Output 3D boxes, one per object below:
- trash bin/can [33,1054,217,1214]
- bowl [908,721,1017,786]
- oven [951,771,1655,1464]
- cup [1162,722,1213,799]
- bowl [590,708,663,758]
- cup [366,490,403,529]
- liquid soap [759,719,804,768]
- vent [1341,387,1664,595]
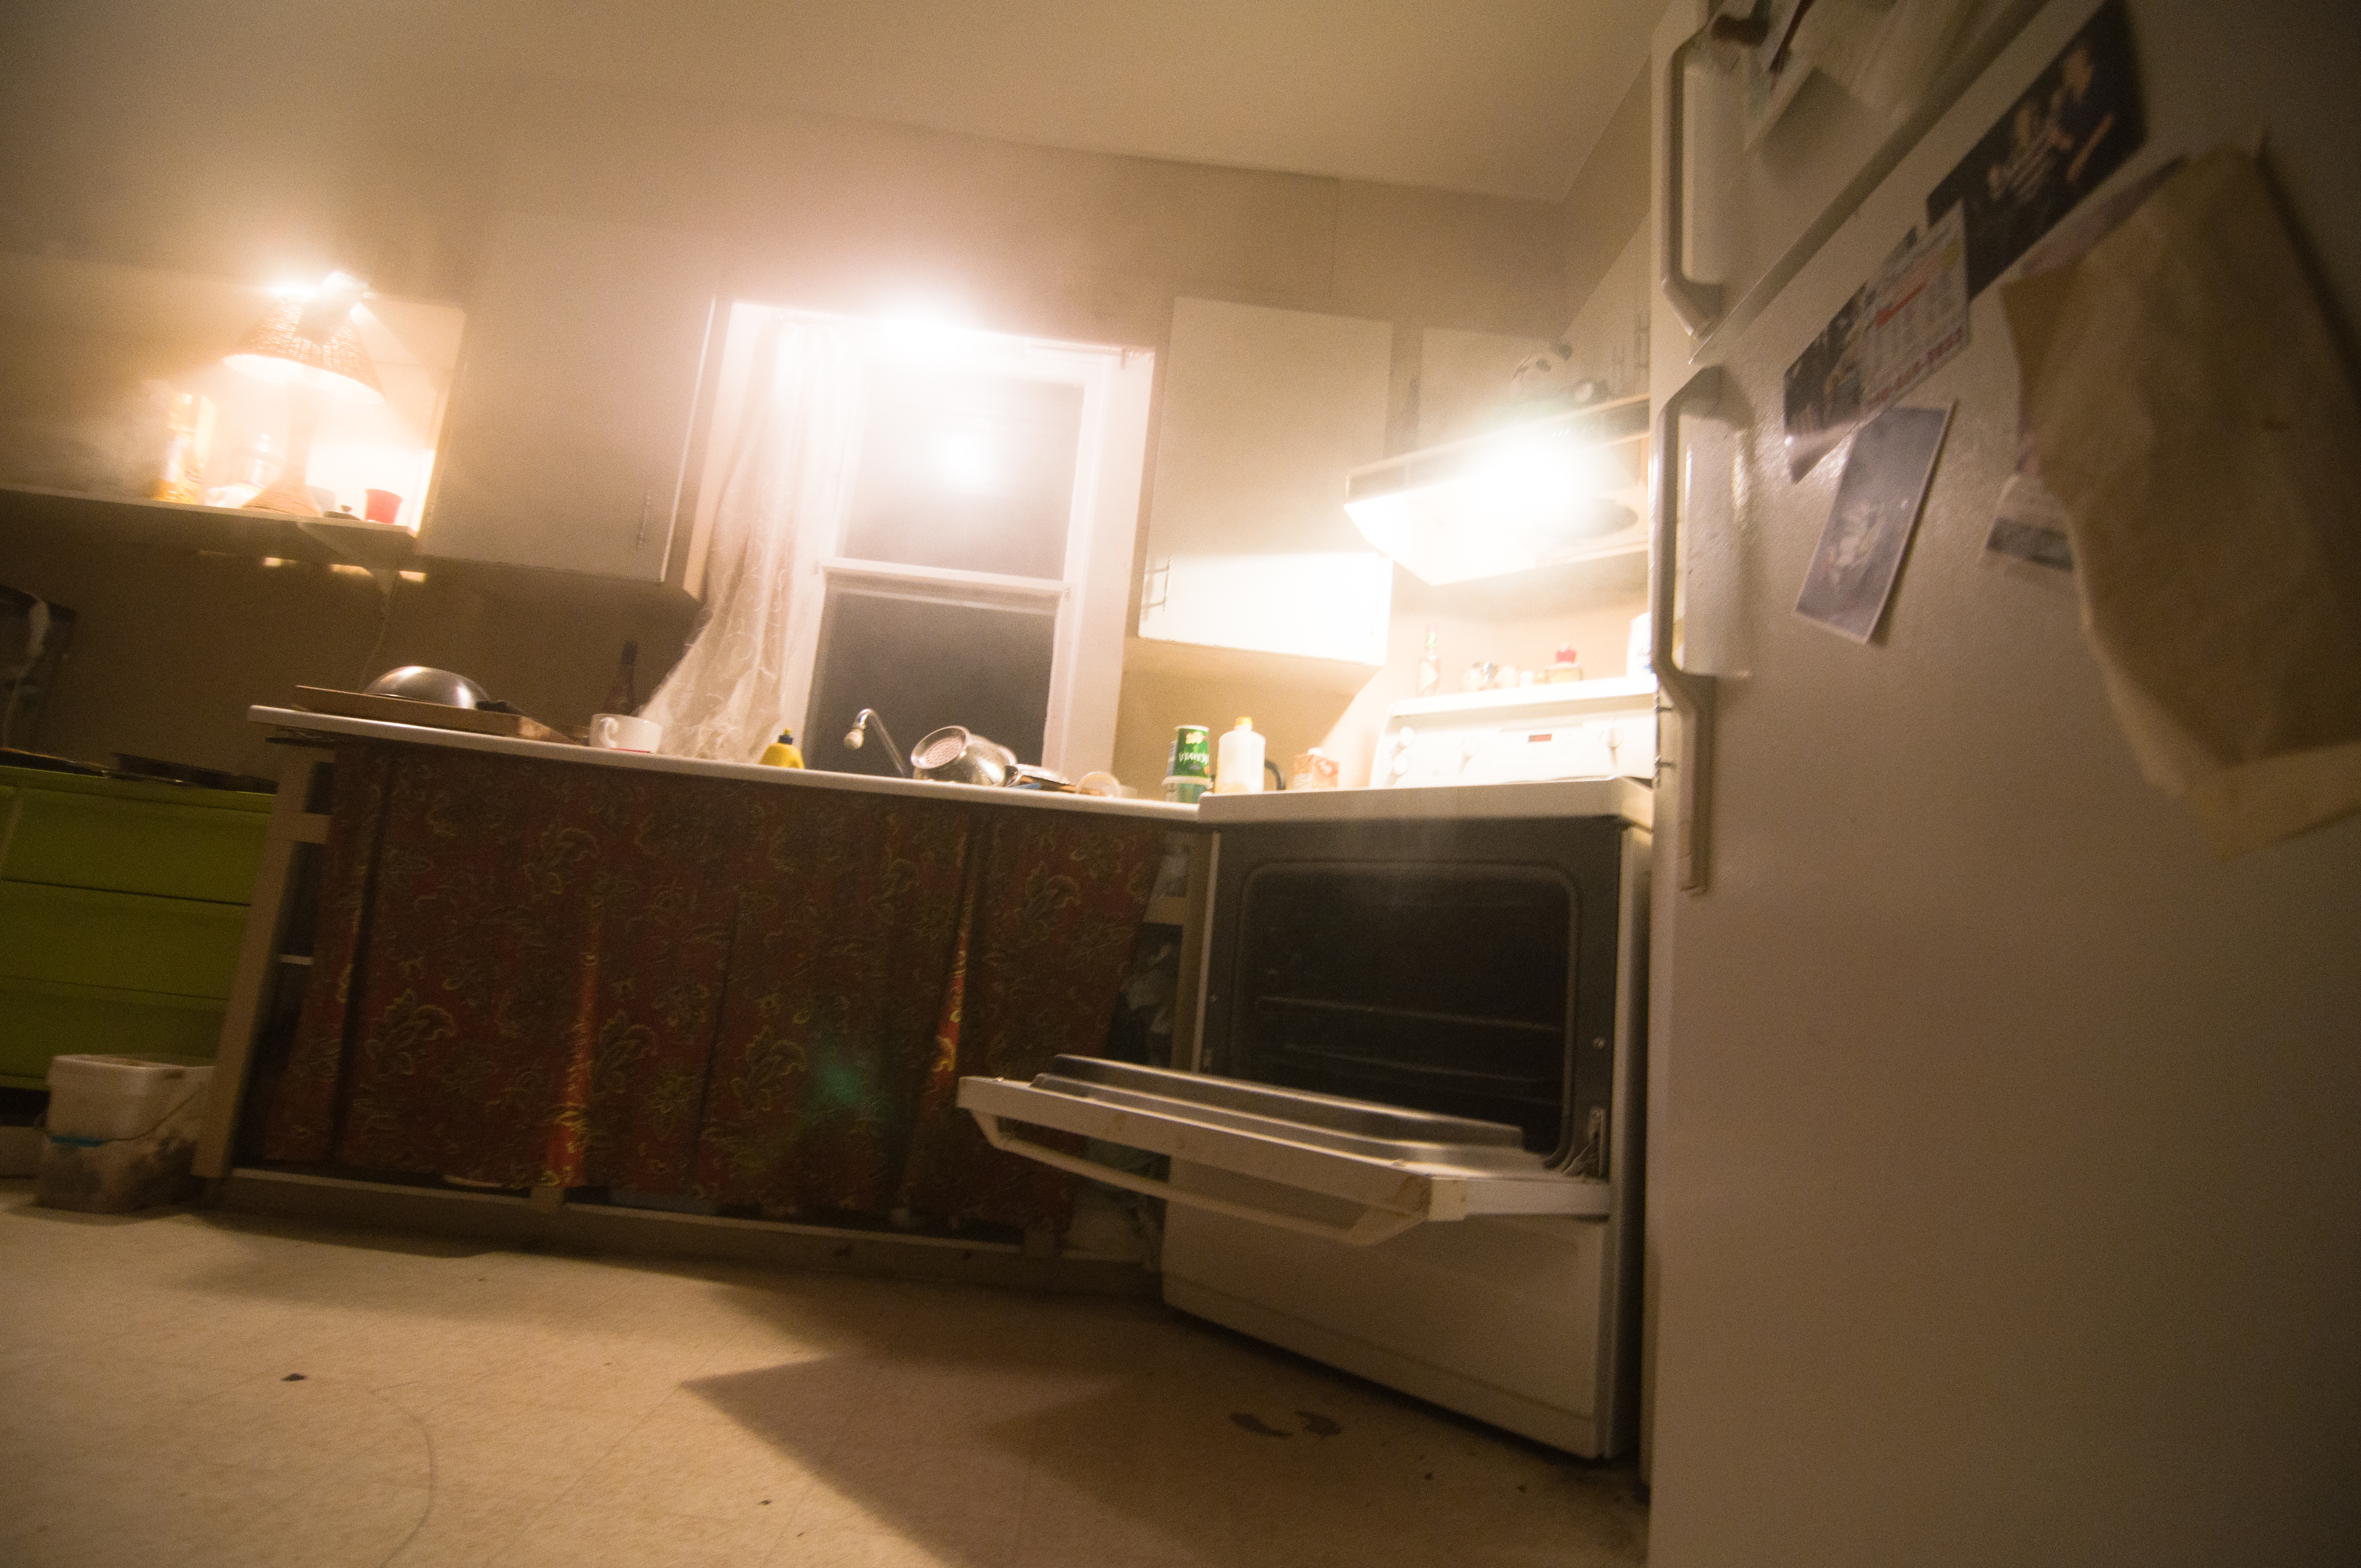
[{"bbox_3d":[-2.043,0.679,3.091,0.271,0.329,0.345,1,-6,20],"label":"trash bin/can"},{"bbox_3d":[-0.478,-0.069,3.320,0.180,0.086,0.131,2,4,-1],"label":"bowl"},{"bbox_3d":[0.377,0.529,2.751,1.378,1.076,1.149,9,-4,-36],"label":"oven"},{"bbox_3d":[0.024,-0.048,3.652,0.159,0.161,0.158,3,1,0],"label":"cup"},{"bbox_3d":[-1.199,-0.109,3.341,0.151,0.090,0.107,-5,11,-28],"label":"bowl"},{"bbox_3d":[-1.984,-0.693,3.853,0.096,0.073,0.093,7,1,0],"label":"cup"},{"bbox_3d":[-0.903,-0.086,3.536,0.104,0.115,0.115,6,11,-14],"label":"liquid soap"},{"bbox_3d":[0.758,-0.658,3.570,0.804,0.379,0.718,10,8,31],"label":"vent"}]
